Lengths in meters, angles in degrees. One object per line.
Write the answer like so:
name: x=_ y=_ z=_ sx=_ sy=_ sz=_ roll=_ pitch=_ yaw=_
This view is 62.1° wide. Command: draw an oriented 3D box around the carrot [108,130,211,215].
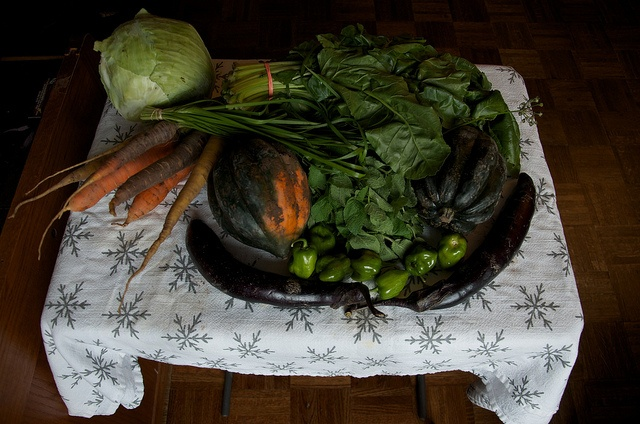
carrot: x=-0.534 y=-0.127 z=1.778 sx=0.413 sy=0.072 sz=0.079 roll=-37 pitch=102 yaw=-18

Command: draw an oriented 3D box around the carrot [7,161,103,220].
carrot: x=-0.871 y=-0.070 z=1.776 sx=0.168 sy=0.092 sz=0.180 roll=25 pitch=42 yaw=30

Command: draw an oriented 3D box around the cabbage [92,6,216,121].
cabbage: x=-0.566 y=-0.502 z=1.950 sx=0.400 sy=0.322 sz=0.337 roll=-23 pitch=81 yaw=-29

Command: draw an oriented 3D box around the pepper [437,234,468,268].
pepper: x=0.428 y=0.121 z=1.760 sx=0.085 sy=0.065 sz=0.107 roll=28 pitch=87 yaw=-1

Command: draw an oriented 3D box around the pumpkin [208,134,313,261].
pumpkin: x=-0.165 y=-0.050 z=1.806 sx=0.294 sy=0.242 sz=0.377 roll=-31 pitch=87 yaw=11

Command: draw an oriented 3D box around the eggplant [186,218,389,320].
eggplant: x=-0.138 y=0.217 z=1.666 sx=0.691 sy=0.057 sz=0.177 roll=21 pitch=60 yaw=10

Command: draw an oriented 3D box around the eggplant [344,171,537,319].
eggplant: x=0.530 y=0.145 z=1.838 sx=0.890 sy=0.210 sz=0.262 roll=-34 pitch=64 yaw=-6

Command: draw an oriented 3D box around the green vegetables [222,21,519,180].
green vegetables: x=0.171 y=-0.373 z=1.723 sx=0.858 sy=0.202 sz=0.507 roll=1 pitch=77 yaw=-2

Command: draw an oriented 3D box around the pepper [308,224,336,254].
pepper: x=0.008 y=0.087 z=1.790 sx=0.086 sy=0.098 sz=0.089 roll=-10 pitch=60 yaw=-3

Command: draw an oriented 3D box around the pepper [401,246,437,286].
pepper: x=0.318 y=0.160 z=1.759 sx=0.105 sy=0.095 sz=0.122 roll=31 pitch=56 yaw=10

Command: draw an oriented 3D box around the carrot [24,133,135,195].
carrot: x=-0.811 y=-0.160 z=1.801 sx=0.317 sy=0.047 sz=0.071 roll=-34 pitch=71 yaw=-15
